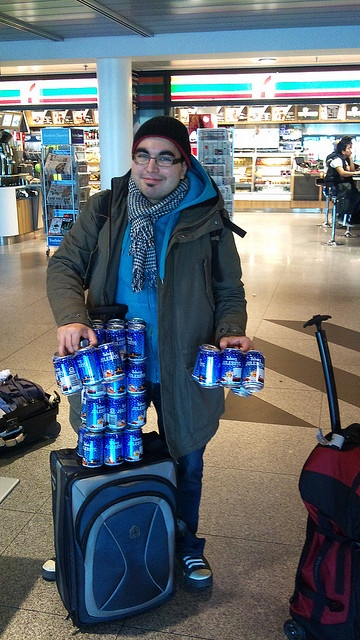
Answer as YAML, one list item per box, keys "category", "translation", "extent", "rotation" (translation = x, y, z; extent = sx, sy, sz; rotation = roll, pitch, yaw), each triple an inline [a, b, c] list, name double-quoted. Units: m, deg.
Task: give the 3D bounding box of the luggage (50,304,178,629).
- category: "luggage"
  translation: [-0.158, 0.436, 1.169]
  extent: [0.259, 0.717, 0.179]
  rotation: [-6, 13, -28]

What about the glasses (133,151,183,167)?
- category: "glasses"
  translation: [-0.059, -0.426, 1.180]
  extent: [0.130, 0.048, 0.055]
  rotation: [0, 8, -2]

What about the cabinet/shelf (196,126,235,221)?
- category: "cabinet/shelf"
  translation: [0.830, -3.167, 9.797]
  extent: [0.666, 2.136, 0.586]
  rotation: [-4, 4, 0]

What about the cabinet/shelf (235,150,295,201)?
- category: "cabinet/shelf"
  translation: [2.941, -4.852, 15.009]
  extent: [2.420, 2.346, 0.869]
  rotation: [1, 2, 6]

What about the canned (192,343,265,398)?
- category: "canned"
  translation: [0.114, 0.125, 1.074]
  extent: [0.170, 0.121, 0.103]
  rotation: [3, 8, 16]

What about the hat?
- category: "hat"
  translation: [-0.045, -0.478, 1.169]
  extent: [0.116, 0.103, 0.126]
  rotation: [9, -13, 8]

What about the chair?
- category: "chair"
  translation: [3.787, -2.629, 10.823]
  extent: [0.752, 0.994, 2.550]
  rotation: [-5, 26, 0]
